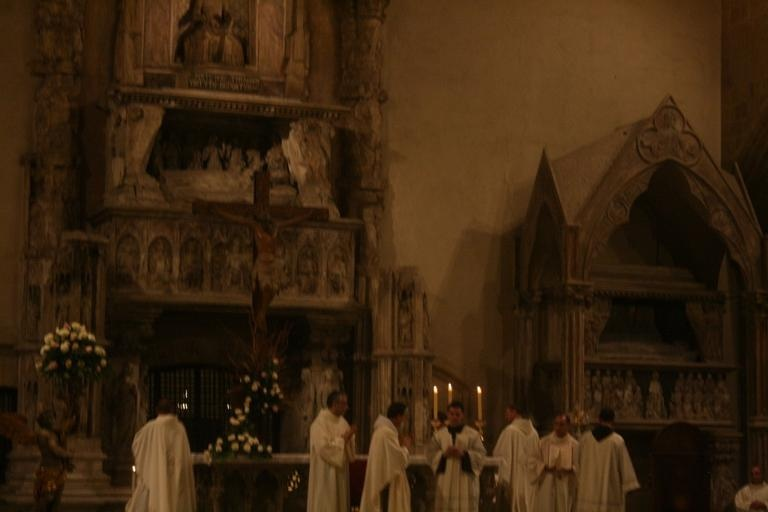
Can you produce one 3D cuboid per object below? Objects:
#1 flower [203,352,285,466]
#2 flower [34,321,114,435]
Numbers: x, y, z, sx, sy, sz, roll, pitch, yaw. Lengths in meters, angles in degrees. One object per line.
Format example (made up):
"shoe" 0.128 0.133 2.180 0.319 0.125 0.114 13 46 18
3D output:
"flower" -2.441 2.542 31.598 1.204 2.084 0.736 15 -16 -33
"flower" -5.319 1.982 31.992 0.904 1.822 0.957 13 6 -21
